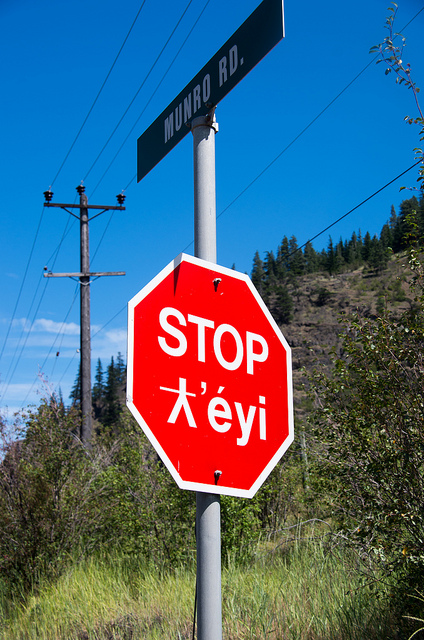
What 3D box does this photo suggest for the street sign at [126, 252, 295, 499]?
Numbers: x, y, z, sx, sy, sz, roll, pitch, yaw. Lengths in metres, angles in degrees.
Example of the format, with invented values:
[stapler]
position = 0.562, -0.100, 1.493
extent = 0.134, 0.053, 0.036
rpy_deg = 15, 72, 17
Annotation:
[street sign]
position = 0.049, 0.224, 3.823
extent = 0.895, 1.245, 0.205
rpy_deg = 14, -32, -23
